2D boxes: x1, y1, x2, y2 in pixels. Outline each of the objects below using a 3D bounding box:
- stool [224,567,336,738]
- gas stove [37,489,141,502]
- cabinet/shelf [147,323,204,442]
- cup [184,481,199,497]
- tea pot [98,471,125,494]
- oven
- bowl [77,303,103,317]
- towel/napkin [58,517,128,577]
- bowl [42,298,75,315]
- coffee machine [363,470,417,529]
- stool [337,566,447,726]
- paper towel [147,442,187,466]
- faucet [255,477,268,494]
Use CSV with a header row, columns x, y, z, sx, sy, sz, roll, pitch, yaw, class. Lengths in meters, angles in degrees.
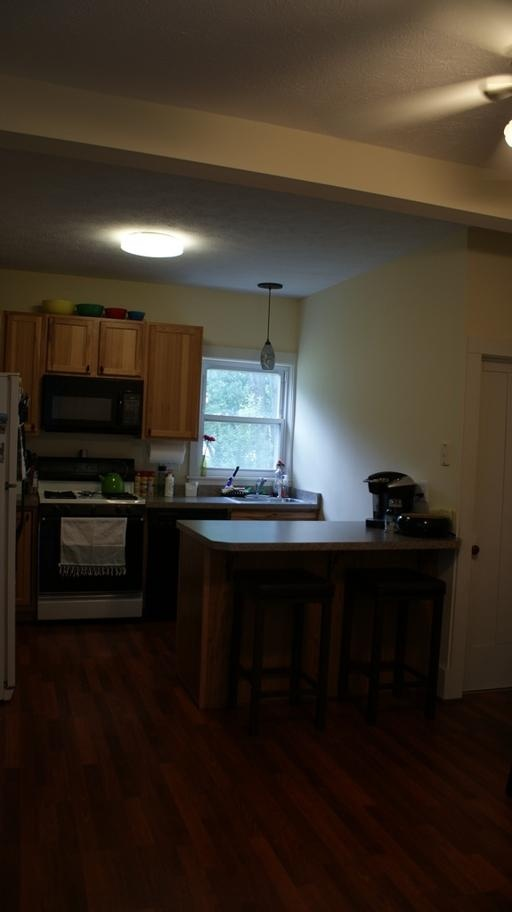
x,y,z,sx,sy,sz,roll,pitch,yaw,class
0.112,0.821,2.749,0.444,0.630,0.538,3,-3,-13,stool
-1.165,0.280,4.382,0.617,0.072,0.595,4,-3,-21,gas stove
-0.634,-0.555,4.707,0.396,0.839,0.112,3,-3,-14,cabinet/shelf
-0.515,0.260,4.968,0.097,0.124,0.099,2,6,0,cup
-1.060,0.196,4.594,0.147,0.156,0.126,0,0,31,tea pot
-1.125,0.489,4.252,0.686,0.777,0.507,1,-2,-21,oven
-1.207,-1.049,4.552,0.125,0.055,0.130,0,4,0,bowl
-1.074,0.579,4.059,0.338,0.354,0.046,0,1,-19,towel/napkin
-1.423,-1.061,4.495,0.135,0.064,0.148,3,4,0,bowl
0.720,0.232,3.319,0.289,0.354,0.207,2,-1,-2,coffee machine
0.671,0.855,2.950,0.527,0.633,0.450,4,-3,-25,stool
-0.692,-0.019,4.905,0.216,0.195,0.168,0,-2,-10,paper towel
0.040,0.257,5.337,0.099,0.137,0.103,2,-3,-1,faucet
